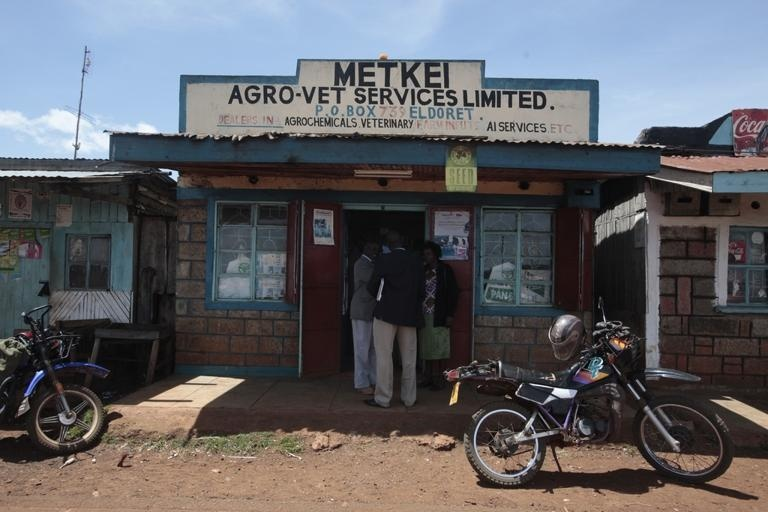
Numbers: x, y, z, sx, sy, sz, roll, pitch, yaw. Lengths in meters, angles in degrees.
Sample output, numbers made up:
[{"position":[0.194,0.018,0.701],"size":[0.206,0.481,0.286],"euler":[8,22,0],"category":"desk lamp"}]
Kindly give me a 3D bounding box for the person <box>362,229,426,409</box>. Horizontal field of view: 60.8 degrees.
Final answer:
[{"position":[0.187,0.923,9.648],"size":[0.839,2.412,0.397],"euler":[1,0,-6],"category":"person"}]

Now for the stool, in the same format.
[{"position":[-4.038,1.592,10.581],"size":[1.137,0.966,1.056],"euler":[0,1,-18],"category":"stool"}]

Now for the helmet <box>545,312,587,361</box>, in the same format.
[{"position":[2.418,1.036,8.606],"size":[0.576,0.454,0.414],"euler":[-25,20,-31],"category":"helmet"}]
